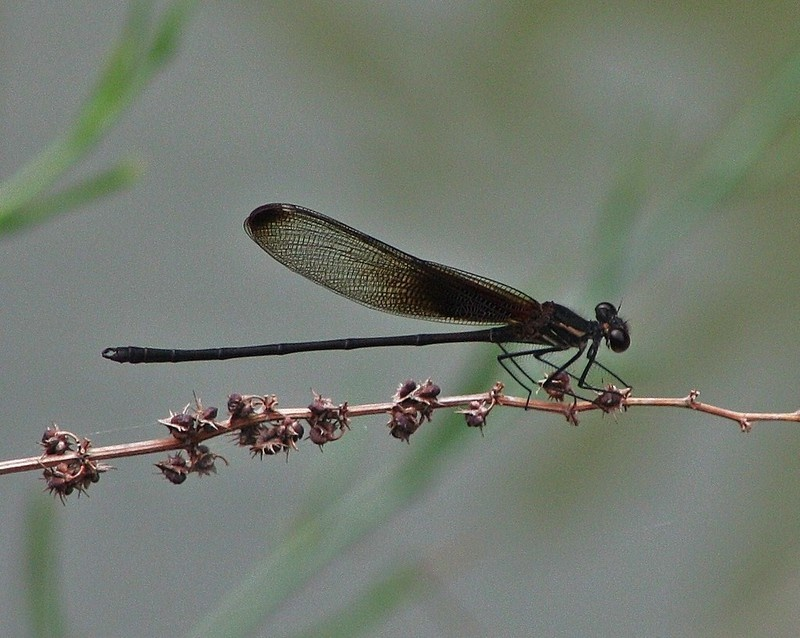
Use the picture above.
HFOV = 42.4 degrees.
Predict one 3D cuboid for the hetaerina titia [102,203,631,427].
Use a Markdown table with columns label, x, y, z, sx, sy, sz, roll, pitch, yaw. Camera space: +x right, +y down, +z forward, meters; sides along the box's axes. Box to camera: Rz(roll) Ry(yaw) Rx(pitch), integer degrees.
| label | x | y | z | sx | sy | sz | roll | pitch | yaw |
| --- | --- | --- | --- | --- | --- | --- | --- | --- | --- |
| hetaerina titia | -0.231 | -0.066 | 6.543 | 2.911 | 1.367 | 0.923 | -1 | 10 | -10 |
